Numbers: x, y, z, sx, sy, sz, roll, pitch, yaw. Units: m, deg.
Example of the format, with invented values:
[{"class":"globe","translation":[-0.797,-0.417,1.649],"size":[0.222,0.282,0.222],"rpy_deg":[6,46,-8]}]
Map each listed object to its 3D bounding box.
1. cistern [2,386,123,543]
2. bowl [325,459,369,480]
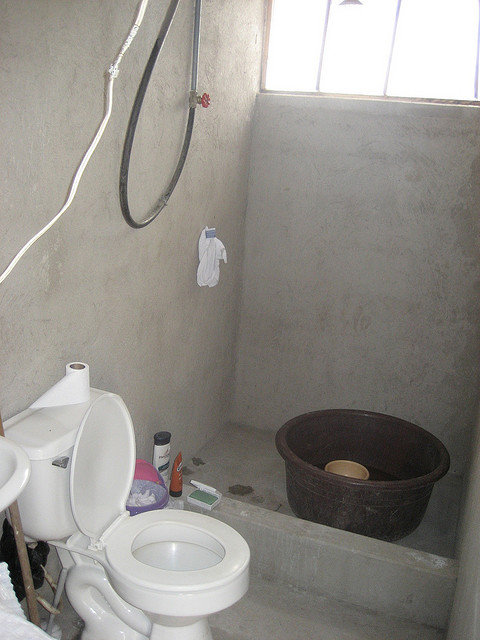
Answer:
[{"class":"cistern","translation":[-0.419,0.324,1.501],"size":[0.230,0.387,0.385],"rpy_deg":[4,14,21]},{"class":"bowl","translation":[0.442,0.603,2.425],"size":[0.174,0.035,0.228],"rpy_deg":[7,5,4]}]
